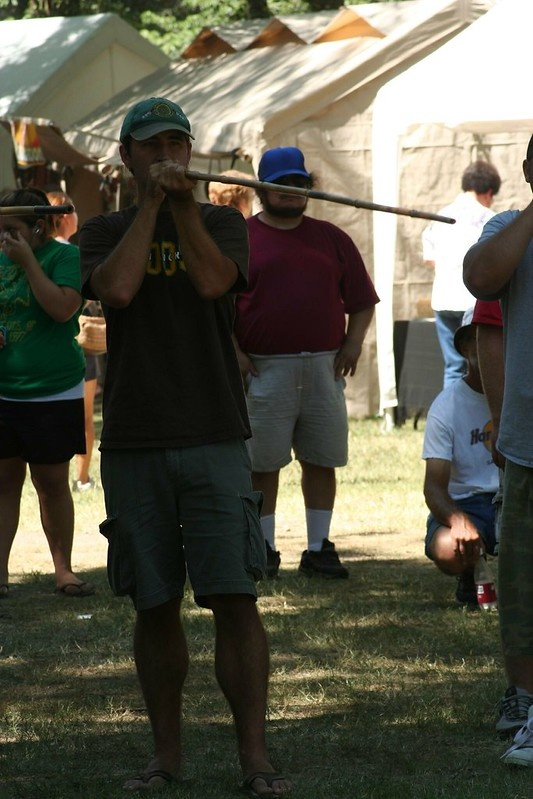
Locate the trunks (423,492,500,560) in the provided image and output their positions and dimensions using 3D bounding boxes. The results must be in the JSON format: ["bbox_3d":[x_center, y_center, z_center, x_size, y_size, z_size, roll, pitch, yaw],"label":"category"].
[{"bbox_3d":[0.827,0.467,4.824,0.398,0.299,0.143,0,-21,-2],"label":"trunks"}]

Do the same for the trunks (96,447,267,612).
[{"bbox_3d":[-0.240,0.297,3.228,0.451,0.480,0.275,-6,7,-7],"label":"trunks"}]

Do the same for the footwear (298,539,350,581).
[{"bbox_3d":[0.271,0.781,5.749,0.120,0.121,0.308,4,-6,-32],"label":"footwear"}]

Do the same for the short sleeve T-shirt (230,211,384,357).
[{"bbox_3d":[0.078,-0.563,5.759,0.978,0.635,0.377,-5,14,-21],"label":"short sleeve T-shirt"}]
